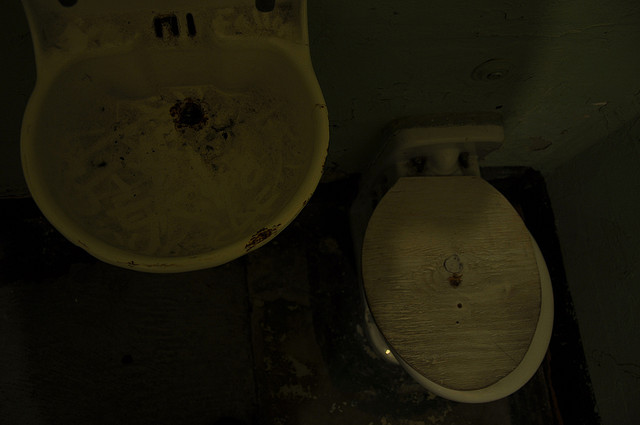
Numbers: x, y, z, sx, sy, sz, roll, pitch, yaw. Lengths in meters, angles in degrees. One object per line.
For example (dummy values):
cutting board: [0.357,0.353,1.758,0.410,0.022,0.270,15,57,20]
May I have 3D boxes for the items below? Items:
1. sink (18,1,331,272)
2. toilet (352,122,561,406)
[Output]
sink: [-0.424,-0.238,1.878,0.885,0.449,0.727,0,59,2]
toilet: [0.446,0.182,2.453,0.740,0.705,0.998,-3,80,2]
